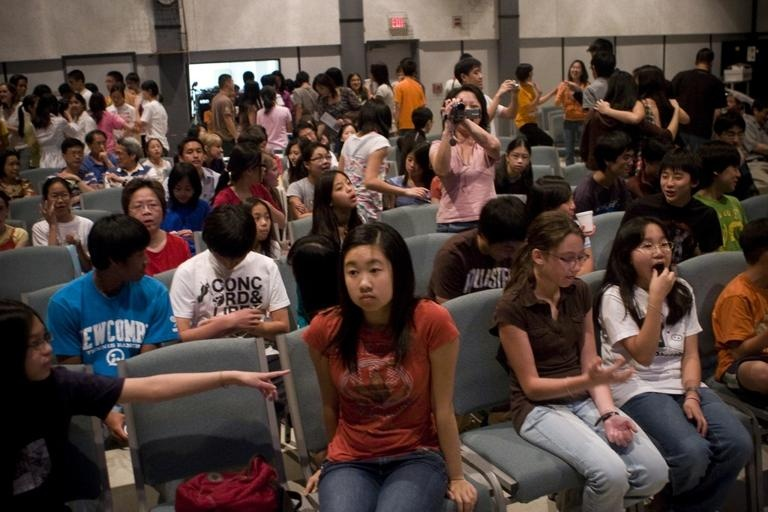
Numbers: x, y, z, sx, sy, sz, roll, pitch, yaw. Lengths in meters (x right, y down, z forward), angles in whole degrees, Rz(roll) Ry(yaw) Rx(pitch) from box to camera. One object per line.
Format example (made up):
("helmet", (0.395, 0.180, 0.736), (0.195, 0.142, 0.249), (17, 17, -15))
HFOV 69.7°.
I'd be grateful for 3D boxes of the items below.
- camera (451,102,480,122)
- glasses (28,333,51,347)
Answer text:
("camera", (0.634, -1.104, 4.270), (0.171, 0.082, 0.177), (-1, 7, -13))
("glasses", (-1.396, 0.339, 2.219), (0.060, 0.019, 0.061), (-7, 3, 24))
